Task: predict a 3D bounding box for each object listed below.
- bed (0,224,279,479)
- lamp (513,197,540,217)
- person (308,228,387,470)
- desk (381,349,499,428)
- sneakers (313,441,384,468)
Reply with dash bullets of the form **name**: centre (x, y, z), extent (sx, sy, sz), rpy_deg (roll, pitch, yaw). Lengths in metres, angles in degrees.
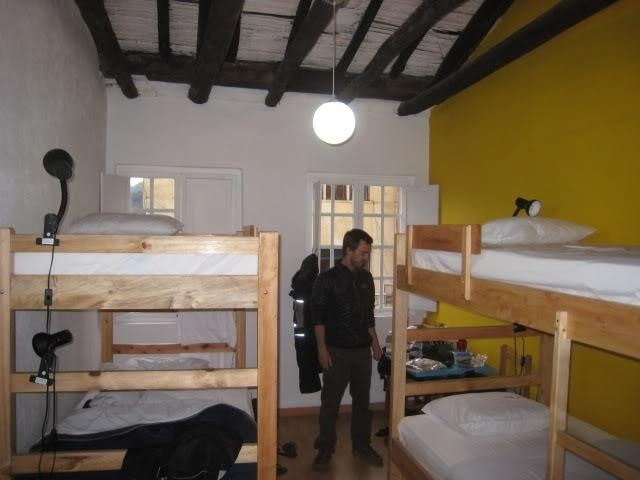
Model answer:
- **bed**: centre (-1.040, 0.402, 3.591), extent (1.856, 1.754, 1.328), rpy_deg (0, 2, -9)
- **lamp**: centre (1.548, -0.250, 3.970), extent (0.140, 0.177, 0.084), rpy_deg (32, 59, 31)
- **person**: centre (0.238, 0.919, 4.563), extent (0.644, 2.012, 0.390), rpy_deg (2, 2, -1)
- **desk**: centre (0.949, 1.216, 4.771), extent (0.876, 0.690, 0.849), rpy_deg (0, -6, -10)
- **sneakers**: centre (0.250, 1.856, 4.582), extent (0.616, 0.256, 0.215), rpy_deg (-2, 4, 0)
